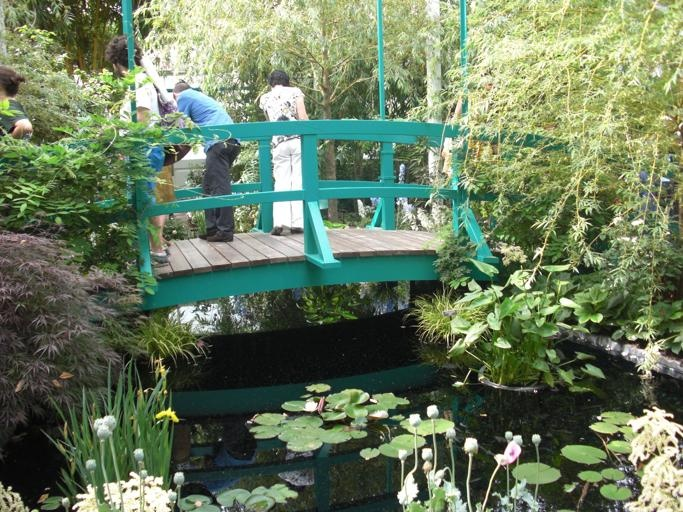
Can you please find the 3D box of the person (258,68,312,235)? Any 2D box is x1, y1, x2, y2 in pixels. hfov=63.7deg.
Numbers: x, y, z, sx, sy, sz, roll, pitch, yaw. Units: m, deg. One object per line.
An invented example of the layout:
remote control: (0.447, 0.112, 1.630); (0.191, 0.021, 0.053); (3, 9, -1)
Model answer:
person: (-0.523, -0.975, 5.178); (0.397, 1.556, 0.891); (-5, 12, -15)

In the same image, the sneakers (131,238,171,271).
sneakers: (-1.438, 0.018, 4.178); (0.311, 0.119, 0.101); (2, -6, -18)

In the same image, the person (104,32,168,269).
person: (-1.473, -0.783, 4.116); (0.402, 1.679, 0.622); (-6, 12, -18)
